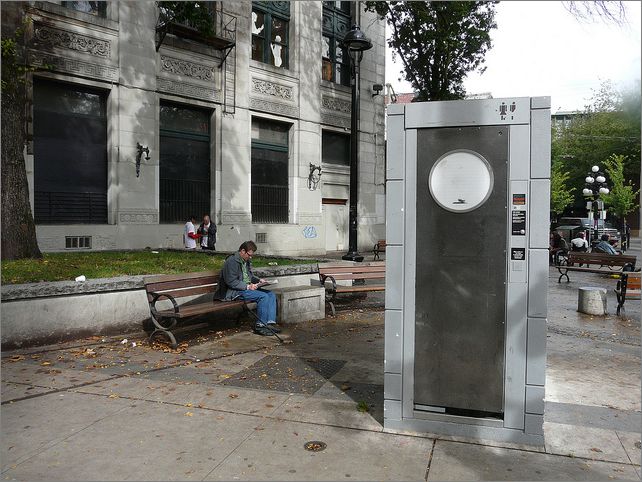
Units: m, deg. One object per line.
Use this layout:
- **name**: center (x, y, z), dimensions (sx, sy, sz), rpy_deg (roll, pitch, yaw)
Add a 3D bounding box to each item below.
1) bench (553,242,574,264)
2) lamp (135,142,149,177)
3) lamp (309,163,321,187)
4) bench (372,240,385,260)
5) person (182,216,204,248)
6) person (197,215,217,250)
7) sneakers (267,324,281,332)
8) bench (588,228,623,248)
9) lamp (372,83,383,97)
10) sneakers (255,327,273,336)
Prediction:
- **bench**: center (9.684, 0.468, 20.728), dimensions (0.690, 1.288, 0.851), rpy_deg (0, -2, 25)
- **lamp**: center (-6.026, -2.729, 17.491), dimensions (0.157, 1.141, 0.565), rpy_deg (9, 12, 40)
- **lamp**: center (-0.314, -2.993, 23.288), dimensions (0.503, 1.123, 1.029), rpy_deg (0, -1, 21)
- **bench**: center (2.682, 0.410, 23.879), dimensions (0.317, 0.574, 0.819), rpy_deg (0, 1, 29)
- **person**: center (-4.376, -0.288, 17.653), dimensions (0.534, 1.310, 0.439), rpy_deg (26, 33, 33)
- **person**: center (-3.784, -0.295, 17.199), dimensions (0.479, 1.145, 0.933), rpy_deg (-7, 12, -39)
- **sneakers**: center (-0.867, 1.610, 9.688), dimensions (0.295, 0.149, 0.107), rpy_deg (-2, -2, 28)
- **bench**: center (14.674, -0.203, 26.874), dimensions (0.977, 0.970, 1.561), rpy_deg (-7, -10, 44)
- **lamp**: center (2.815, -7.540, 25.734), dimensions (0.473, 0.718, 0.476), rpy_deg (0, -1, -13)
- **sneakers**: center (-1.050, 1.654, 9.552), dimensions (0.302, 0.152, 0.142), rpy_deg (-4, -5, 24)
